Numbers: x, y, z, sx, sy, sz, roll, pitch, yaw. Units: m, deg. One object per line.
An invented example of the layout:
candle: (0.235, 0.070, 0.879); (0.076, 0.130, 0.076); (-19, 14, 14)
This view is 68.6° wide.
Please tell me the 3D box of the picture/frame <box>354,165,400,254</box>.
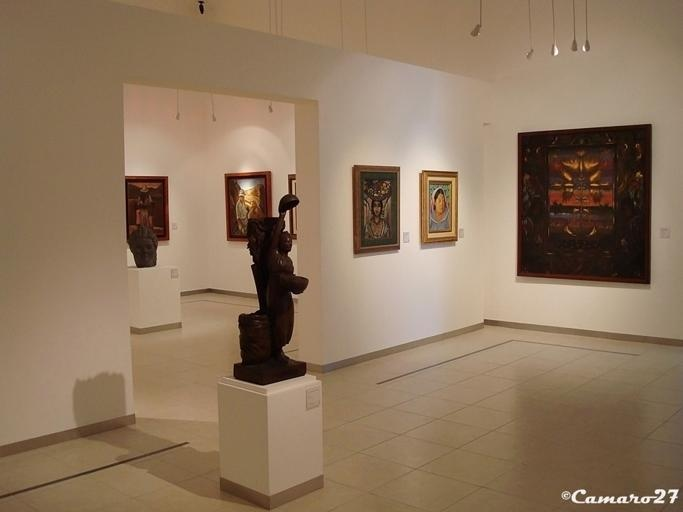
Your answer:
picture/frame: (0.579, -0.811, 8.621); (0.170, 1.940, 1.295); (5, 7, 43)

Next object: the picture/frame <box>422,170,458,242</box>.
picture/frame: (1.896, -0.973, 9.726); (0.103, 1.704, 1.186); (5, 7, 42)

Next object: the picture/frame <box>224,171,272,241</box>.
picture/frame: (-2.666, -1.390, 14.288); (1.783, 1.972, 0.309); (3, 5, 39)
